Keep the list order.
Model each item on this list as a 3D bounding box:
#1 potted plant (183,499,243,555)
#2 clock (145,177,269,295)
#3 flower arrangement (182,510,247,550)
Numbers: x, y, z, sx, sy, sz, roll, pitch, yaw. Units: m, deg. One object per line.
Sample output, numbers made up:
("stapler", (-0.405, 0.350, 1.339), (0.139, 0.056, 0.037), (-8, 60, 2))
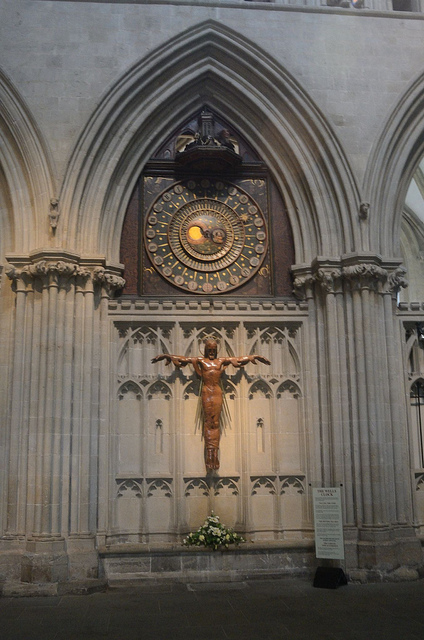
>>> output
("potted plant", (-0.018, 3.017, 12.919), (0.555, 0.501, 0.749), (4, -5, -39))
("clock", (-0.101, -1.341, 14.589), (2.105, 1.860, 0.141), (-1, -5, -21))
("flower arrangement", (0.024, 3.033, 12.868), (0.865, 0.428, 0.482), (-2, 5, -39))
